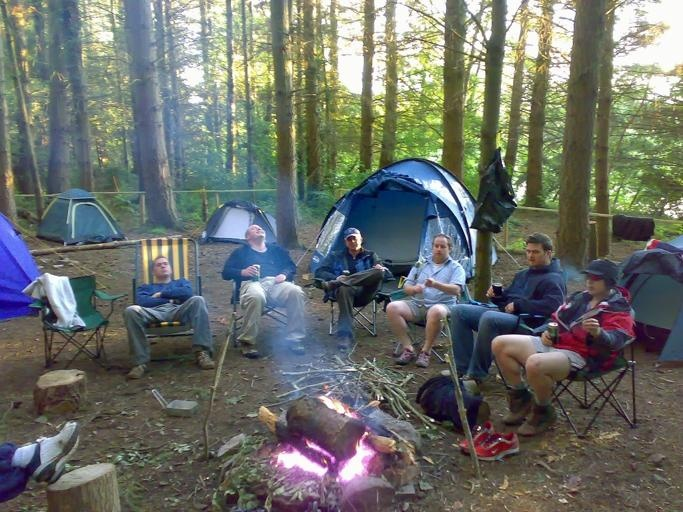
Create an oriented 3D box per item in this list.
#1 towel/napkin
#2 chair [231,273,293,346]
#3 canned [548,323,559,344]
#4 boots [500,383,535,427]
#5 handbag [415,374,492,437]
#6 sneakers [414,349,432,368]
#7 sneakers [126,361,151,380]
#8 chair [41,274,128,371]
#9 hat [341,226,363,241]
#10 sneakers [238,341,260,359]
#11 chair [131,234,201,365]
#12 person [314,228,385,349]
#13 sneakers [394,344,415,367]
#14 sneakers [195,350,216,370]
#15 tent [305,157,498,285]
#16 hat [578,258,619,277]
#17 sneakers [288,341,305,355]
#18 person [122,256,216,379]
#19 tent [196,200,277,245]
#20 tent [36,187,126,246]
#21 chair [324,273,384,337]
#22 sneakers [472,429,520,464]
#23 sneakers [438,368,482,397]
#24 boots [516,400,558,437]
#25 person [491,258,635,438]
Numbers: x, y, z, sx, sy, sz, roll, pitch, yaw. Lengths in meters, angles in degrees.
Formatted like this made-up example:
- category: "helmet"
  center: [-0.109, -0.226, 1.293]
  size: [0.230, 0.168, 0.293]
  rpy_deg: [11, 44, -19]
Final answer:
- category: "towel/napkin"
  center: [-3.047, 0.474, 6.074]
  size: [0.336, 0.540, 0.658]
  rpy_deg: [-4, -5, 33]
- category: "chair"
  center: [-0.858, 0.624, 7.053]
  size: [0.875, 0.656, 0.793]
  rpy_deg: [0, 5, -9]
- category: "canned"
  center: [1.942, 0.710, 5.236]
  size: [0.088, 0.183, 0.071]
  rpy_deg: [2, 12, 6]
- category: "boots"
  center: [1.599, 1.421, 5.399]
  size: [0.482, 0.286, 0.161]
  rpy_deg: [-23, 11, -30]
- category: "handbag"
  center: [0.979, 1.363, 5.343]
  size: [0.724, 0.393, 0.281]
  rpy_deg: [9, -15, 44]
- category: "sneakers"
  center: [0.901, 1.143, 6.329]
  size: [0.135, 0.175, 0.134]
  rpy_deg: [5, 12, 20]
- category: "sneakers"
  center: [-2.186, 1.242, 6.155]
  size: [0.225, 0.129, 0.150]
  rpy_deg: [-5, 11, -27]
- category: "chair"
  center: [-2.957, 0.675, 6.274]
  size: [1.034, 0.824, 0.660]
  rpy_deg: [-5, 15, -33]
- category: "hat"
  center: [0.154, -0.298, 7.536]
  size: [0.210, 0.130, 0.271]
  rpy_deg: [-2, -17, 1]
- category: "sneakers"
  center: [-1.066, 1.076, 6.654]
  size: [0.215, 0.158, 0.294]
  rpy_deg: [-2, 10, -12]
- category: "chair"
  center: [-2.057, 0.488, 6.995]
  size: [0.995, 1.121, 1.280]
  rpy_deg: [-6, 23, -23]
- category: "person"
  center: [0.127, 0.357, 7.347]
  size: [1.027, 1.435, 0.893]
  rpy_deg: [-2, -4, 7]
- category: "sneakers"
  center: [0.729, 1.144, 6.528]
  size: [0.132, 0.127, 0.328]
  rpy_deg: [1, -6, 25]
- category: "sneakers"
  center: [-1.510, 1.157, 6.395]
  size: [0.182, 0.168, 0.278]
  rpy_deg: [-3, 10, -20]
- category: "tent"
  center: [1.072, -0.630, 9.197]
  size: [2.526, 1.127, 2.523]
  rpy_deg: [2, 6, 30]
- category: "hat"
  center: [2.372, 0.111, 5.233]
  size: [0.294, 0.125, 0.187]
  rpy_deg: [11, 1, -4]
- category: "sneakers"
  center: [-0.518, 1.066, 6.659]
  size: [0.164, 0.112, 0.211]
  rpy_deg: [-2, 10, -13]
- category: "person"
  center: [-2.003, 0.666, 6.568]
  size: [0.909, 1.141, 1.062]
  rpy_deg: [-3, 11, -18]
- category: "tent"
  center: [-2.334, -0.704, 12.848]
  size: [1.489, 0.521, 1.309]
  rpy_deg: [1, 5, -1]
- category: "tent"
  center: [-5.281, -0.769, 11.667]
  size: [1.565, 0.847, 1.278]
  rpy_deg: [3, 5, 34]
- category: "chair"
  center: [0.224, 0.613, 7.393]
  size: [0.850, 0.734, 0.849]
  rpy_deg: [-3, -7, 30]
- category: "sneakers"
  center: [1.341, 1.670, 5.006]
  size: [0.507, 0.175, 0.186]
  rpy_deg: [0, 7, -7]
- category: "sneakers"
  center: [1.170, 1.246, 5.558]
  size: [0.233, 0.241, 0.658]
  rpy_deg: [-5, -28, 6]
- category: "boots"
  center: [1.791, 1.481, 5.288]
  size: [0.482, 0.273, 0.167]
  rpy_deg: [-19, 17, -30]
- category: "person"
  center: [2.073, 0.838, 5.266]
  size: [1.141, 1.609, 0.595]
  rpy_deg: [-2, 12, -14]
